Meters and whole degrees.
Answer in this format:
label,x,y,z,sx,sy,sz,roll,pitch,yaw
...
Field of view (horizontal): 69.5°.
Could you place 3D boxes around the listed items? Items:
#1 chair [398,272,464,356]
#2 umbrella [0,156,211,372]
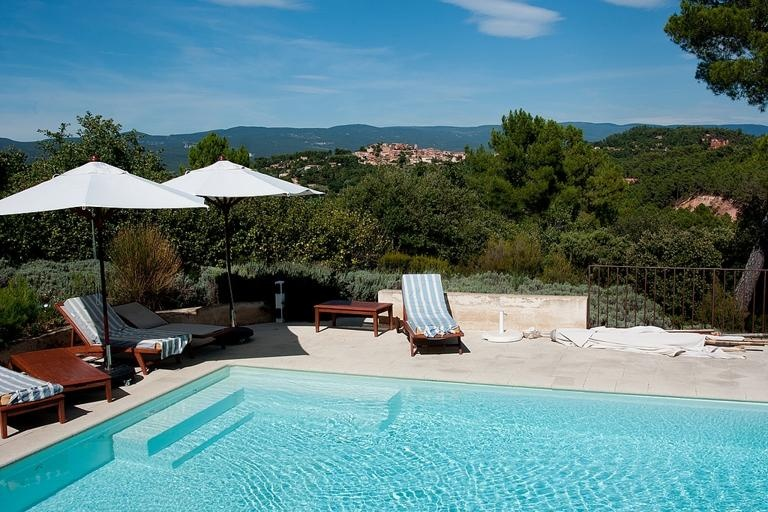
label,x,y,z,sx,sy,sz,roll,pitch,yaw
chair,0.927,1.266,11.766,1.108,1.272,2.164,-4,13,-8
umbrella,-4.539,-0.228,10.141,3.787,3.627,3.456,-3,0,-4
